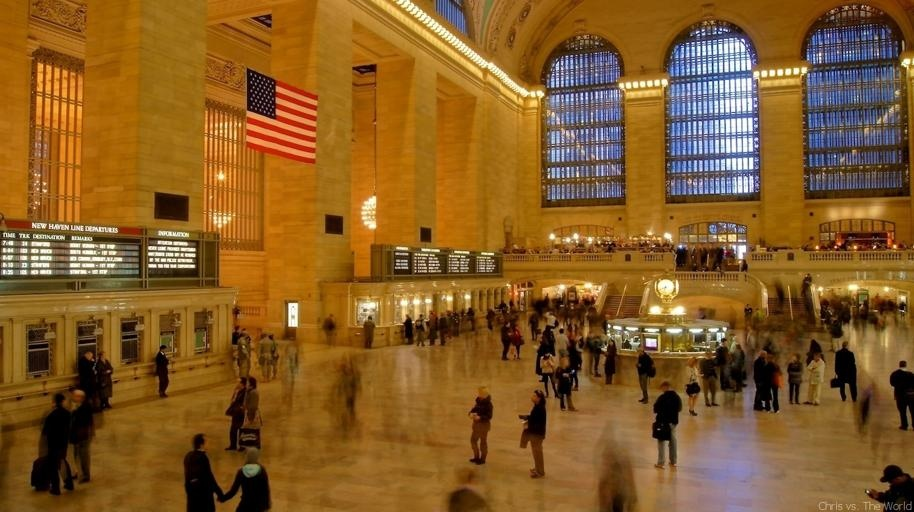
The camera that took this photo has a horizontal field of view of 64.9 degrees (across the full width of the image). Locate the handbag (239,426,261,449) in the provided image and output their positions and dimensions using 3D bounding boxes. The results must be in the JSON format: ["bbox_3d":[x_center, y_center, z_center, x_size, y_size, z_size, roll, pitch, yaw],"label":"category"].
[{"bbox_3d":[-6.522,5.724,22.620,0.629,0.810,0.794,2,-4,-18],"label":"handbag"}]

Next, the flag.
[{"bbox_3d":[-8.163,-6.460,33.391,0.615,3.684,3.595,-3,-5,40],"label":"flag"}]

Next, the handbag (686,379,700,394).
[{"bbox_3d":[8.360,4.765,25.838,0.449,0.242,0.541,-4,-3,0],"label":"handbag"}]

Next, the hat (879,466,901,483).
[{"bbox_3d":[11.323,5.717,18.803,0.441,0.433,0.275,-2,-4,31],"label":"hat"}]

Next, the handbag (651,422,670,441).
[{"bbox_3d":[6.189,5.461,22.250,0.623,0.517,0.588,-1,-1,-45],"label":"handbag"}]
